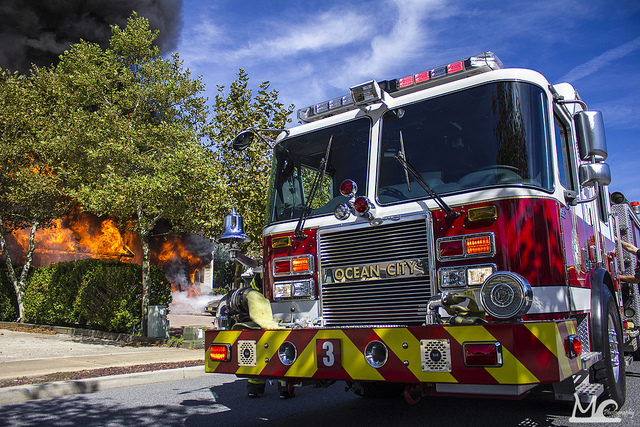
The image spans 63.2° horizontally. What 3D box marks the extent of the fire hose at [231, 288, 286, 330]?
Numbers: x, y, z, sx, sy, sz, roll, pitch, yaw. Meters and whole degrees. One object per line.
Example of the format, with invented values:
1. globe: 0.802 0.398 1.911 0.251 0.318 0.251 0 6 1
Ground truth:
1. fire hose: -0.873 1.308 7.165 0.676 0.560 0.496 -1 -3 -4

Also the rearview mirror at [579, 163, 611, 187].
1. rearview mirror: 3.695 -0.536 7.004 0.358 0.301 0.369 -3 -4 28

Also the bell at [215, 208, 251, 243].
1. bell: -1.361 0.198 8.220 0.512 0.556 0.534 -3 -19 5

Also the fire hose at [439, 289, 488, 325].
1. fire hose: 1.708 1.172 6.376 0.513 0.555 0.356 -2 11 10

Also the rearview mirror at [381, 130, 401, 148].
1. rearview mirror: 1.025 -1.058 7.429 0.258 0.256 0.063 -2 -1 21

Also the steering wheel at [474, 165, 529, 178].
1. steering wheel: 2.361 -0.538 6.739 0.642 0.199 0.044 -3 -3 24

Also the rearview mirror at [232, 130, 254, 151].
1. rearview mirror: -1.190 -1.134 8.110 0.341 0.267 0.432 -1 -3 -16
